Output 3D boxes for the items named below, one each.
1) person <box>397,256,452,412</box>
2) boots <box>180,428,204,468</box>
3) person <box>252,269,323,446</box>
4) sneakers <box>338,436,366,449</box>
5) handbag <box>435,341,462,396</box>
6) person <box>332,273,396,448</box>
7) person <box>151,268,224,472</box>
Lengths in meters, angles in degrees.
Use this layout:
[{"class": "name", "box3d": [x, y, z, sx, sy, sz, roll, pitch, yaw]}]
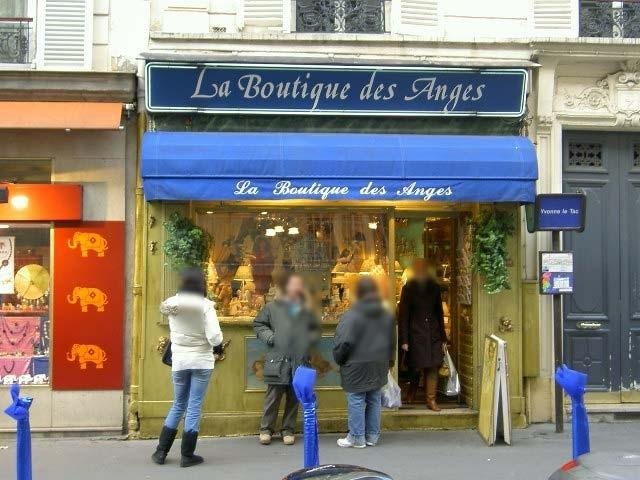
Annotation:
[{"class": "person", "box3d": [1.519, 1.400, 17.595, 0.694, 2.200, 0.865, -1, -2, 5]}, {"class": "boots", "box3d": [-1.587, 2.759, 15.541, 0.243, 0.497, 0.457, 2, 4, 26]}, {"class": "person", "box3d": [-0.457, 1.657, 16.328, 0.910, 2.323, 0.543, -1, -2, -3]}, {"class": "sneakers", "box3d": [0.434, 2.788, 16.197, 0.372, 0.170, 0.160, 3, 1, 31]}, {"class": "handbag", "box3d": [1.906, 1.921, 17.547, 0.287, 0.794, 0.766, -12, -2, -7]}, {"class": "person", "box3d": [0.603, 1.680, 16.040, 0.820, 2.302, 0.563, -1, -2, 1]}, {"class": "person", "box3d": [-1.722, 1.683, 15.576, 0.903, 2.605, 0.411, -1, -2, 5]}]
